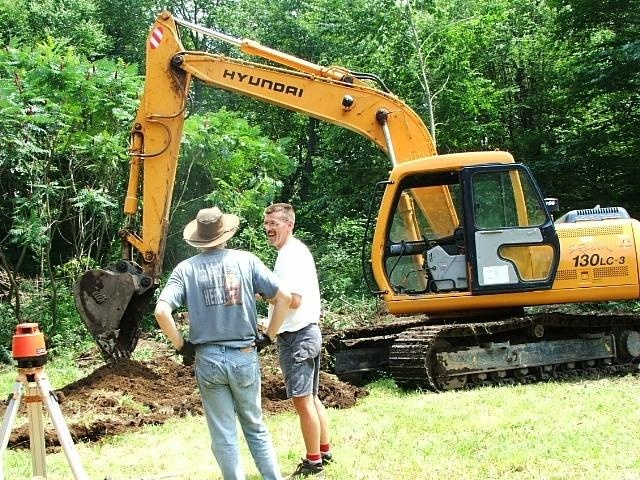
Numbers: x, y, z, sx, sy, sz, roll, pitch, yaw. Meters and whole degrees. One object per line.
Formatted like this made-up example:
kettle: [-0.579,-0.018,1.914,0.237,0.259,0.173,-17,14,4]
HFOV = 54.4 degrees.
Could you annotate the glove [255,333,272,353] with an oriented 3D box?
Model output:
glove: [-0.487,0.884,5.379,0.167,0.161,0.097,-4,31,-6]
